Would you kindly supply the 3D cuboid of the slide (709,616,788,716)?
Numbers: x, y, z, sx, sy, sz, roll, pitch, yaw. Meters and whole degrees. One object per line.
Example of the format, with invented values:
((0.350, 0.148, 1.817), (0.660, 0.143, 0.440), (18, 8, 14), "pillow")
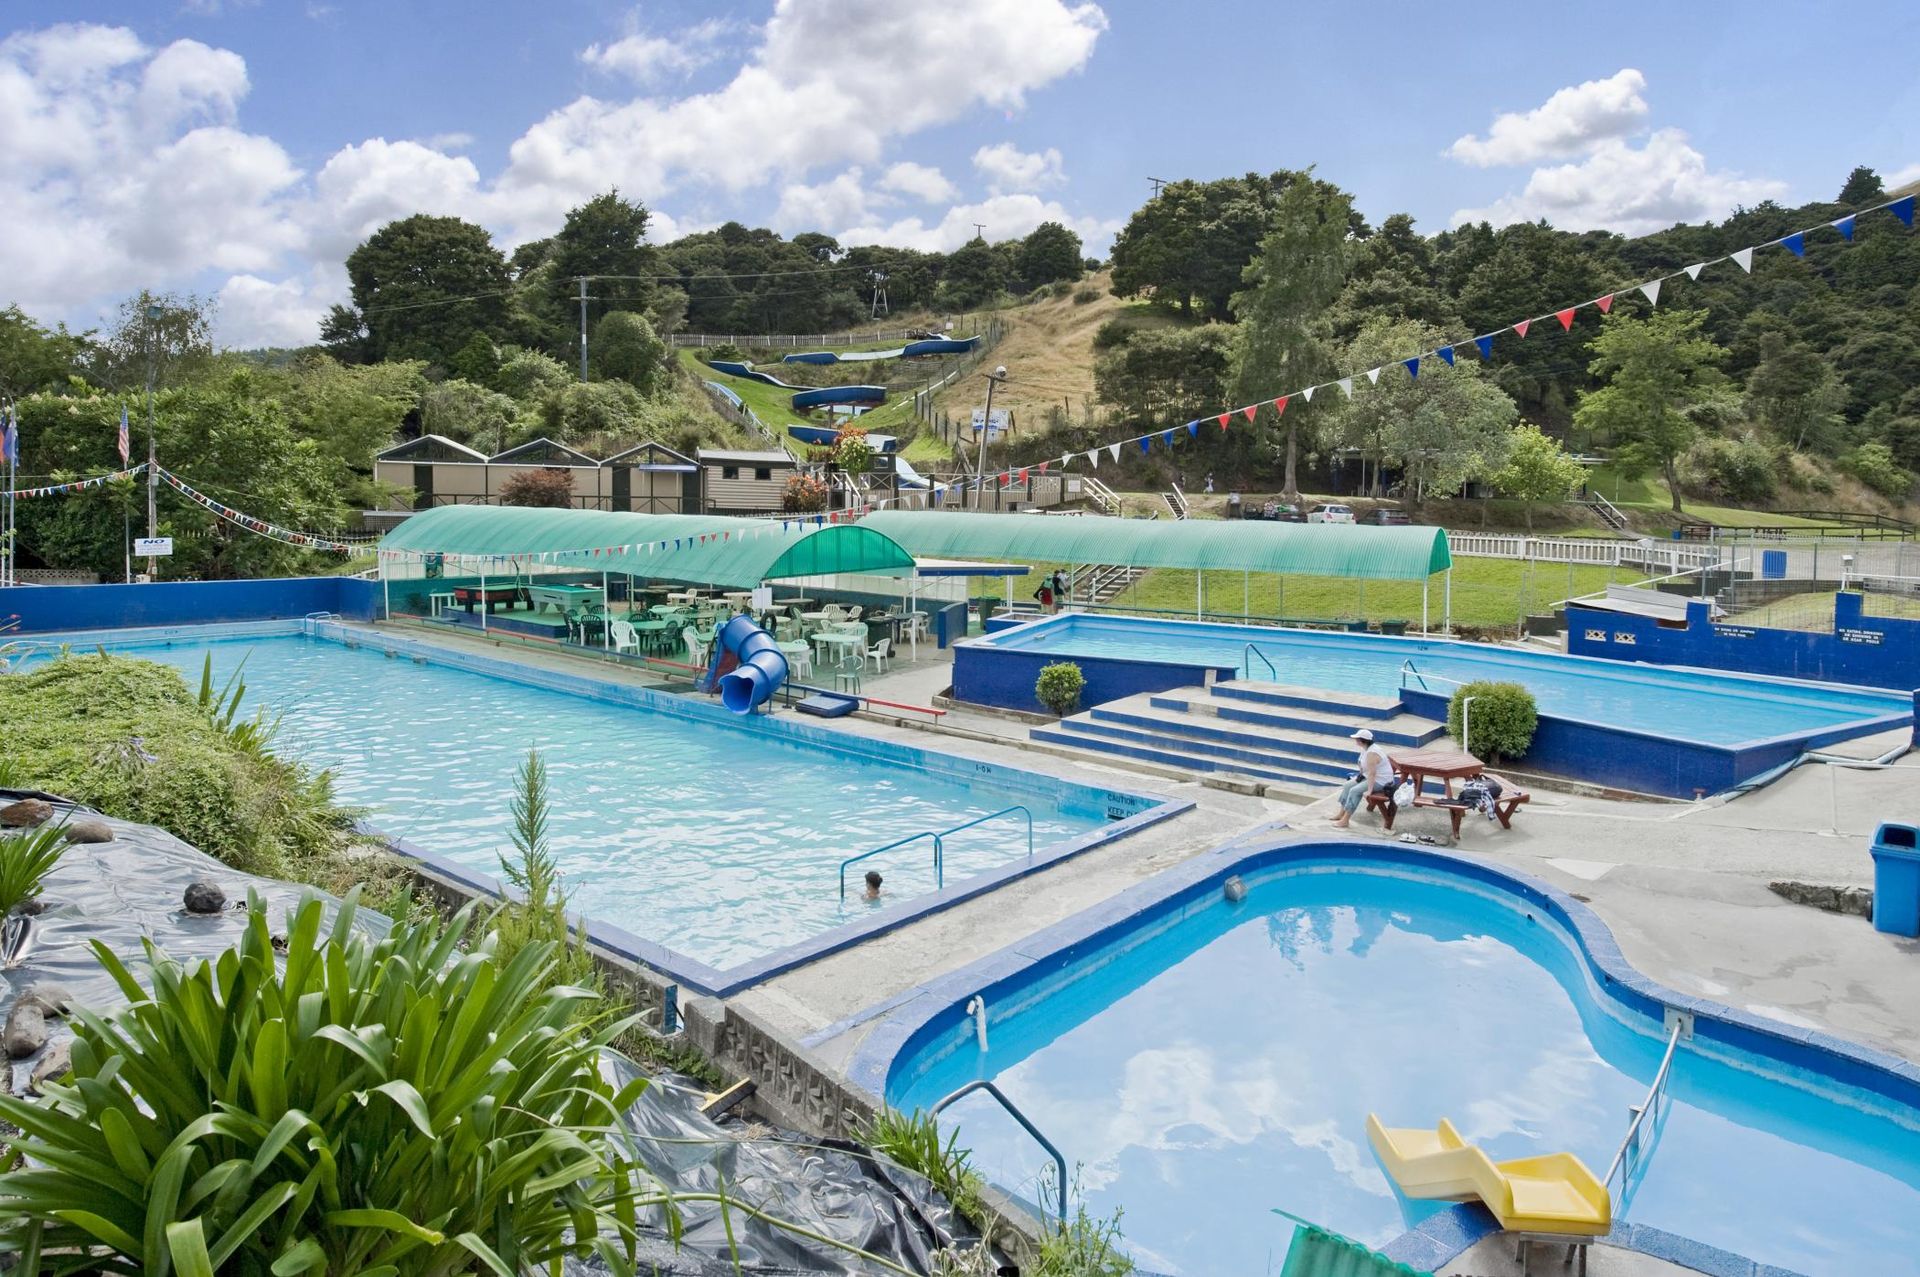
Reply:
((-4.090, 0.516, 25.345), (1.913, 0.770, 2.976), (-9, 24, -12), "slide")

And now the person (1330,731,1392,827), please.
((5.250, 1.763, 18.134), (0.769, 1.195, 0.939), (1, 2, 17), "person")
